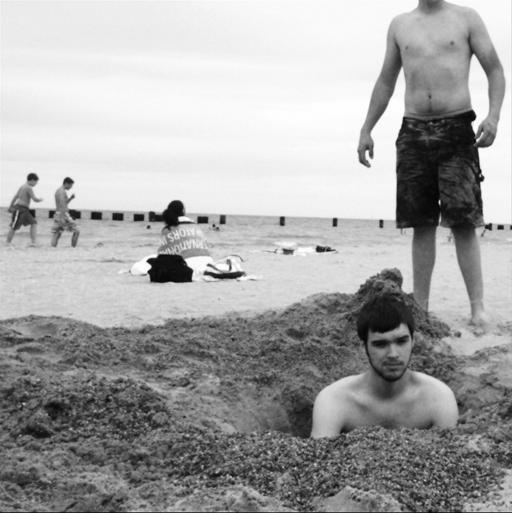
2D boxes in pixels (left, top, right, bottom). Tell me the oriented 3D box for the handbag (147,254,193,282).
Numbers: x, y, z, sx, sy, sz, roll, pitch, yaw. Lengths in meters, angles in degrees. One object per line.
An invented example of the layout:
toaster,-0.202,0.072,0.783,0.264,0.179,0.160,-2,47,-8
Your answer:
handbag,-1.021,0.154,8.934,0.561,0.287,0.440,-2,7,5

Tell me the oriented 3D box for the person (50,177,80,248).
person,-3.672,-0.776,14.423,0.549,1.445,1.836,-4,7,-15

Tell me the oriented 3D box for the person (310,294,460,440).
person,0.630,0.557,3.716,0.683,0.845,0.572,-2,7,2

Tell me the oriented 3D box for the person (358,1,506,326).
person,1.230,-0.700,5.260,0.955,2.112,0.400,4,9,43
